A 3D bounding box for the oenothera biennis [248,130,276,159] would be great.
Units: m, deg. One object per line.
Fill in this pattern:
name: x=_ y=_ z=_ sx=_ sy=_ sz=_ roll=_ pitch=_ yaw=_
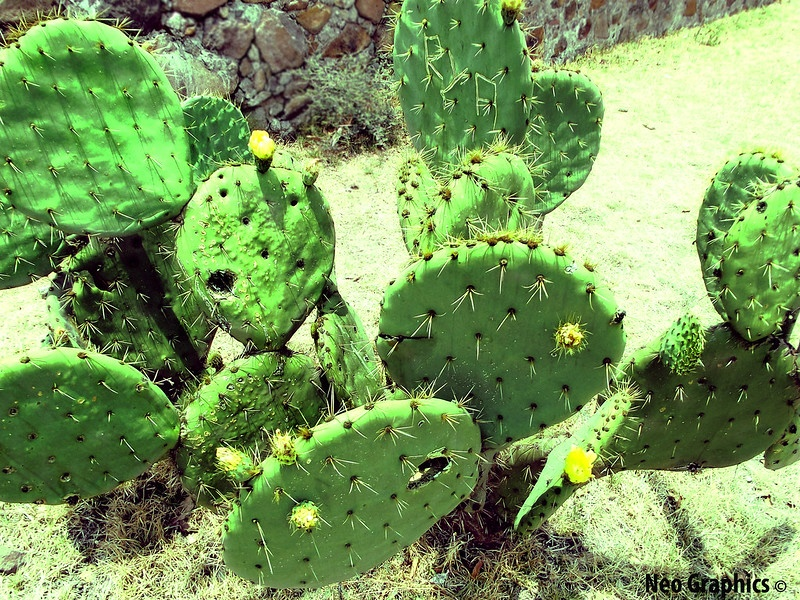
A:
oenothera biennis: x=-0.758 y=-0.875 z=4.930 sx=0.129 sy=0.169 sz=0.181 roll=-12 pitch=40 yaw=-6
